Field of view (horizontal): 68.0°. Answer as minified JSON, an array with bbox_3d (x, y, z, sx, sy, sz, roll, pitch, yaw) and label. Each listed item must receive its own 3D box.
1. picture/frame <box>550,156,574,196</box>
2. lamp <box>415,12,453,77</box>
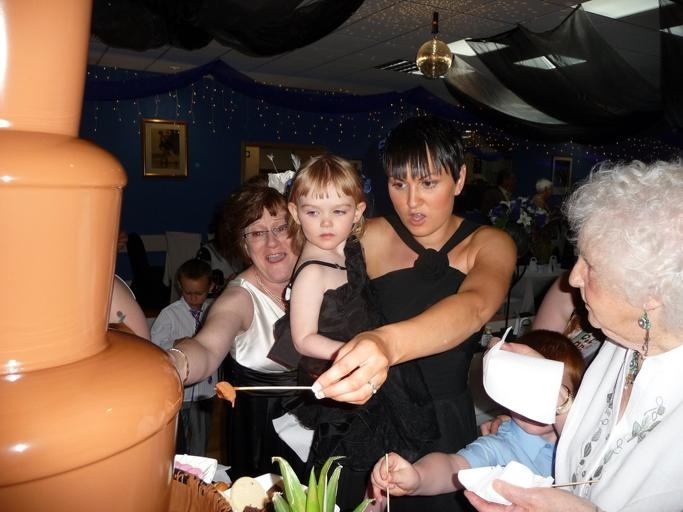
[{"bbox_3d":[4.591,-1.657,10.472,0.506,0.726,0.016,3,1,-7],"label":"picture/frame"},{"bbox_3d":[0.879,-1.966,4.750,0.319,0.622,0.321,1,4,-6],"label":"lamp"}]
